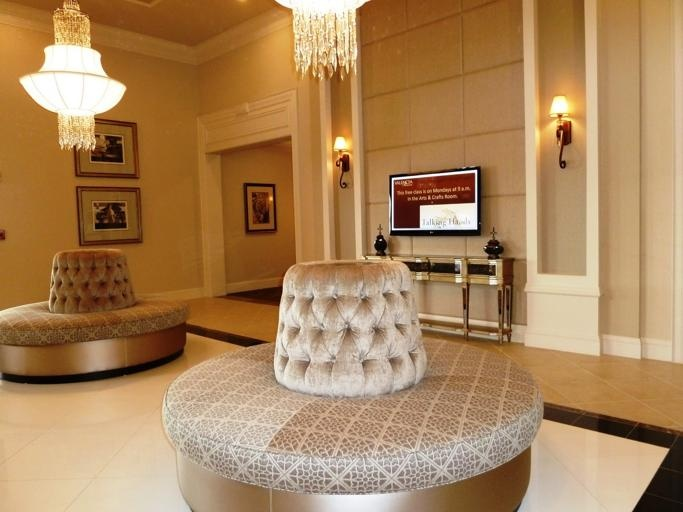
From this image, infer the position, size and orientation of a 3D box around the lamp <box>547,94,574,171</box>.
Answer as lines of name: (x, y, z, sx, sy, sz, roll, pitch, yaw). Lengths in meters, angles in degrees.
lamp: (2.283, -1.276, 5.224, 0.231, 0.732, 0.192, 4, 13, 24)

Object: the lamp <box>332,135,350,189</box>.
lamp: (0.017, -1.288, 7.003, 0.215, 0.705, 0.209, -3, 12, -6)
